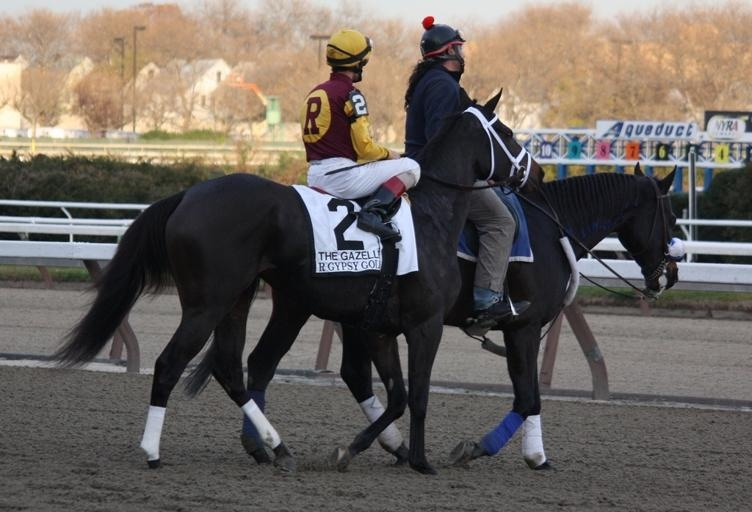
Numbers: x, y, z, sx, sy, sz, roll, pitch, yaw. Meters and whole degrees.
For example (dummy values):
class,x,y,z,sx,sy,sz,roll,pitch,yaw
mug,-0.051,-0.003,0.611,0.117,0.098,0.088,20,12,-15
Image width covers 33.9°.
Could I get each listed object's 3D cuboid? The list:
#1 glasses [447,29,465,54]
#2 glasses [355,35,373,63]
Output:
class,x,y,z,sx,sy,sz,roll,pitch,yaw
glasses,0.816,-2.119,12.290,0.243,0.212,0.181,0,5,1
glasses,-0.101,-2.007,11.953,0.182,0.218,0.127,-1,-5,29
